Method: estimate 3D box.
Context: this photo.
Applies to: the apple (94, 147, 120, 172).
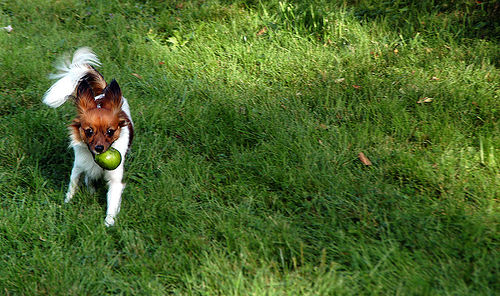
[{"bbox_3d":[-1.659,0.165,4.878,0.227,0.373,0.211,10,35,13],"label":"apple"}]
